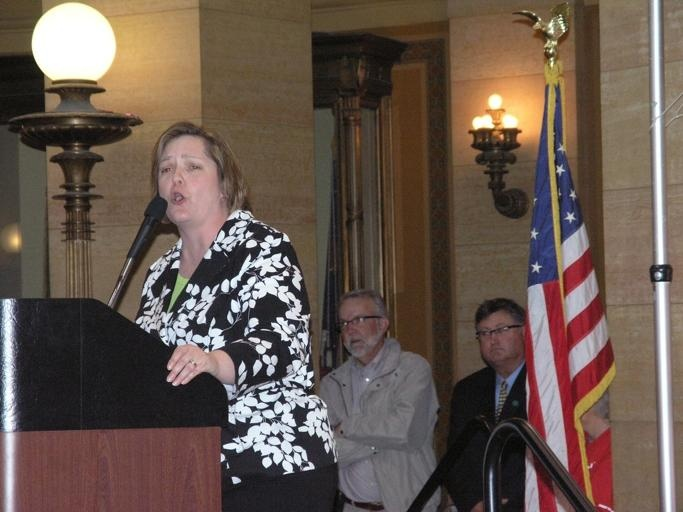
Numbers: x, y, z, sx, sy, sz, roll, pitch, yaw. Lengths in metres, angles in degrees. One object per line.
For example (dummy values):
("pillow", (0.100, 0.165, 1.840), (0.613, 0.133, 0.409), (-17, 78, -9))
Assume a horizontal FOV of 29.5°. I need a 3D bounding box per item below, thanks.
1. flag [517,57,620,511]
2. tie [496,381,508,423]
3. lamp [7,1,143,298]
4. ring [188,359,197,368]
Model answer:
("flag", (1.058, 0.093, 6.168), (0.402, 2.068, 0.249), (-3, -3, 8))
("tie", (0.828, 0.746, 6.698), (0.075, 0.191, 0.193), (-3, -4, 6))
("lamp", (-1.318, -0.573, 6.543), (0.640, 1.569, 0.587), (-2, -3, -10))
("ring", (-0.499, 0.366, 4.388), (0.017, 0.026, 0.026), (-4, -4, -14))
